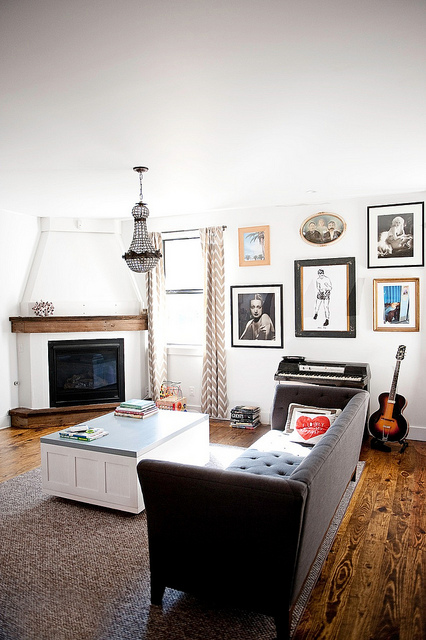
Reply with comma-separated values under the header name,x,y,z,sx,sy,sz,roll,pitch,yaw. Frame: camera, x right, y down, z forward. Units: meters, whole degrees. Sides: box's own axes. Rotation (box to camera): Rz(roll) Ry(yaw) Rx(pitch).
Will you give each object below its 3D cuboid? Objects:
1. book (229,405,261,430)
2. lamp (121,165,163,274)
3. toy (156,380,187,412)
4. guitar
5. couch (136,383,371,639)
name,x,y,z,sx,sy,sz,roll,pitch,yaw
book,0.358,1.115,5.237,0.234,0.155,0.242,0,1,7
lamp,-0.580,-0.814,3.690,0.297,0.846,0.311,2,4,45
toy,-0.511,0.939,5.564,0.332,0.467,0.320,-1,0,16
guitar,1.696,0.750,4.482,0.353,0.781,0.377,0,0,20
couch,0.148,0.461,1.941,0.612,0.605,1.513,2,4,22
